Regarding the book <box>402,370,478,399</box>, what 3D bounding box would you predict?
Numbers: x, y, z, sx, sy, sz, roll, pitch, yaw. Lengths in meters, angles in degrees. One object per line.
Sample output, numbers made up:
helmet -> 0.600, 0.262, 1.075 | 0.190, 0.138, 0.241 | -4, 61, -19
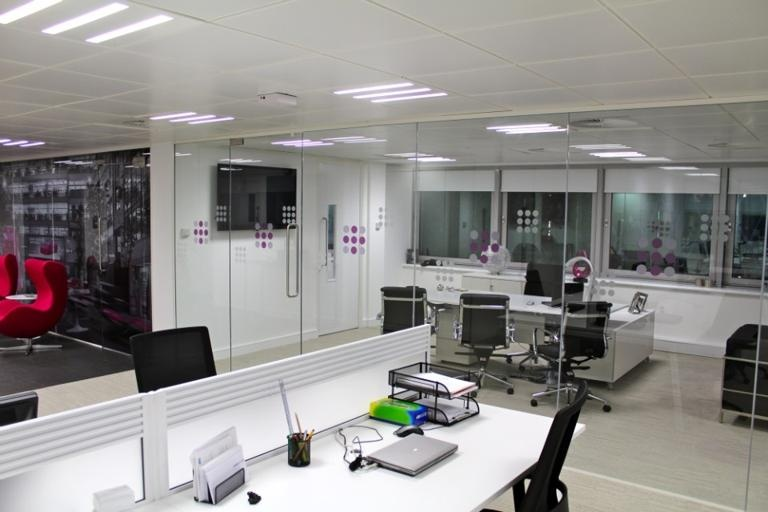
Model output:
book -> 0.398, 0.910, 3.479 | 0.454, 0.148, 0.325 | 8, 12, 15

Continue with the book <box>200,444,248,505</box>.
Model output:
book -> -0.840, 1.138, 2.569 | 0.092, 0.215, 0.288 | -7, 0, 28

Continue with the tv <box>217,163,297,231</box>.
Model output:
tv -> -1.587, -0.757, 6.355 | 0.941, 0.640, 0.037 | 3, 7, 31

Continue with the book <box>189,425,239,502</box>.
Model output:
book -> -0.890, 1.097, 2.588 | 0.046, 0.274, 0.329 | 0, 5, 26

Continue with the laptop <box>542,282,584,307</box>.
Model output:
laptop -> 1.637, 0.295, 4.516 | 0.309, 0.208, 0.212 | -3, 8, -31

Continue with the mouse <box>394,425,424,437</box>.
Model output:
mouse -> 0.156, 1.126, 3.200 | 0.130, 0.037, 0.073 | -4, 1, -8
